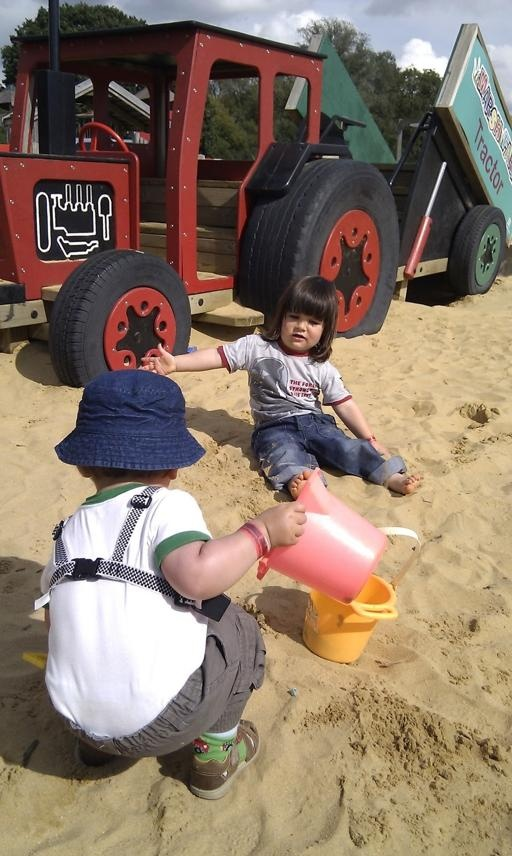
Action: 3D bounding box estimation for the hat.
[{"bbox_3d":[-0.229,-0.039,1.293,0.221,0.121,0.208,-3,9,-28],"label":"hat"}]

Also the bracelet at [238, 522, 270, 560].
[{"bbox_3d":[0.000,0.207,1.275,0.024,0.067,0.054,-24,38,3],"label":"bracelet"}]

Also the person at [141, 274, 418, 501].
[{"bbox_3d":[0.171,-0.219,3.120,1.188,0.908,0.961,8,20,18],"label":"person"}]

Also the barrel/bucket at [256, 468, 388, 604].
[{"bbox_3d":[0.212,0.293,1.895,0.326,0.334,0.350,15,12,-3],"label":"barrel/bucket"}]

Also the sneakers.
[{"bbox_3d":[-0.046,0.689,1.524,0.086,0.139,0.215,10,30,25],"label":"sneakers"}]

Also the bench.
[{"bbox_3d":[-0.424,-1.336,4.579,0.945,0.605,0.488,16,22,39],"label":"bench"}]

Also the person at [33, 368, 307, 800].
[{"bbox_3d":[-0.196,0.356,1.363,0.516,0.851,0.397,13,27,6],"label":"person"}]
